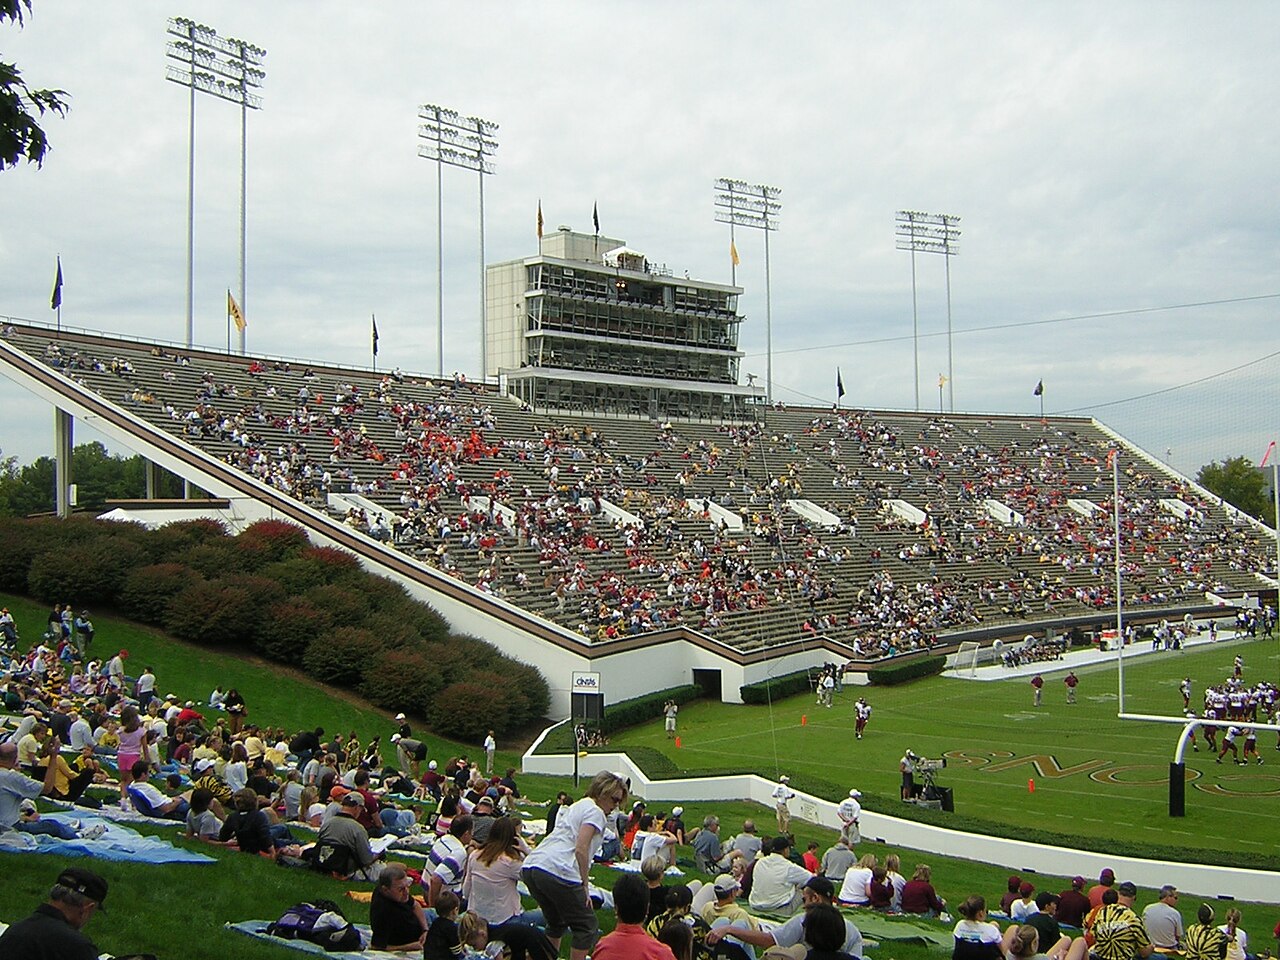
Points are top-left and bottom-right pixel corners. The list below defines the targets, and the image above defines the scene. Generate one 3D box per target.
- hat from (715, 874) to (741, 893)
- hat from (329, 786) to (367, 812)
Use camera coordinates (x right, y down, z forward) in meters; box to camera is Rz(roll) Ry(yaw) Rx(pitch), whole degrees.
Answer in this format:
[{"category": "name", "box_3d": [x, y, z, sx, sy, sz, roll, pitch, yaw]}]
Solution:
[{"category": "hat", "box_3d": [1.548, 7.140, 32.245, 0.433, 0.274, 0.406, 2, 6, -1]}, {"category": "hat", "box_3d": [-5.719, 6.306, 35.909, 0.669, 0.638, 0.502, -1, 3, -42]}]
